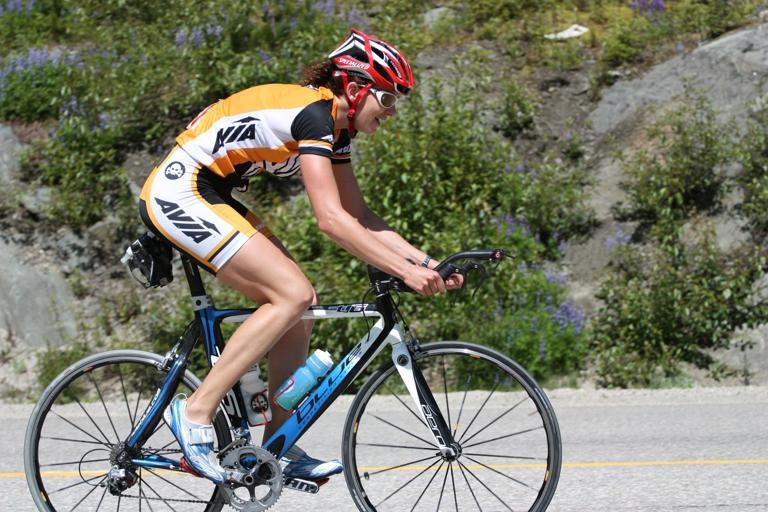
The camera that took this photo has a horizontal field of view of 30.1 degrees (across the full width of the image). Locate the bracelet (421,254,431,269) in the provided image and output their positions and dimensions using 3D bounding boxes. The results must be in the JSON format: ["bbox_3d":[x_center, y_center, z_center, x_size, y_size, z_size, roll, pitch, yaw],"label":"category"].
[{"bbox_3d":[0.480,0.061,15.492,0.088,0.124,0.130,18,72,27],"label":"bracelet"}]

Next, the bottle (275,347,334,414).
[{"bbox_3d":[-0.855,1.350,15.364,0.833,0.327,0.320,-48,38,-1],"label":"bottle"}]

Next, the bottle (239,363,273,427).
[{"bbox_3d":[-1.361,1.567,15.496,0.312,0.201,0.569,-6,49,-13],"label":"bottle"}]
